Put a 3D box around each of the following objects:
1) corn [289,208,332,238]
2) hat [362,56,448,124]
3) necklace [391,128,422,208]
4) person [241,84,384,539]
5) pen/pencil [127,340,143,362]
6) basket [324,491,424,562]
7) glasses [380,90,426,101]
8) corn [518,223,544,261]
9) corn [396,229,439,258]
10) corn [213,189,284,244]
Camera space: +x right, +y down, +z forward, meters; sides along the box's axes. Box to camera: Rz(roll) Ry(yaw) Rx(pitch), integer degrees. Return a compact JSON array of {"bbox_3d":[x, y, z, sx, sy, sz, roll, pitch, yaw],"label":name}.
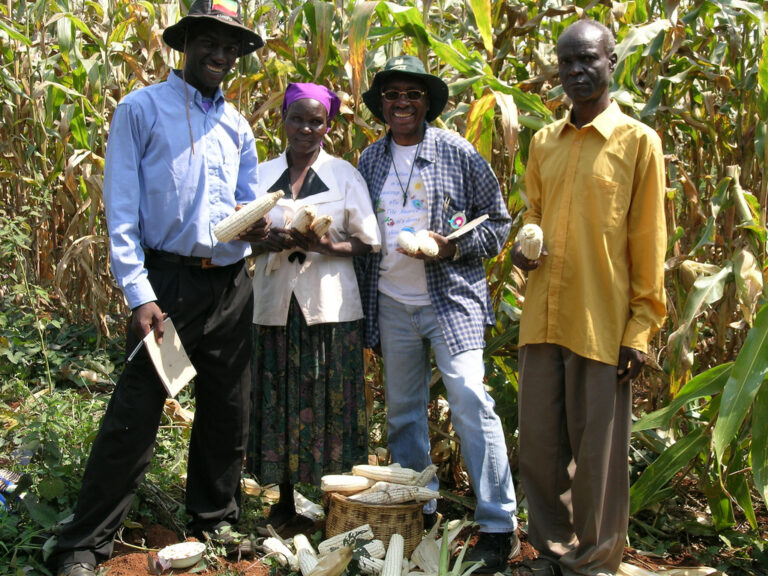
[{"bbox_3d":[-0.370,-0.322,3.570,0.115,0.080,0.207,35,-18,-26],"label":"corn"},{"bbox_3d":[0.106,-1.060,3.724,0.368,0.396,0.239,6,14,28],"label":"hat"},{"bbox_3d":[0.113,-0.613,3.724,0.121,0.339,0.133,-2,13,-11],"label":"necklace"},{"bbox_3d":[-0.462,0.082,3.789,0.842,2.297,0.786,3,2,10],"label":"person"},{"bbox_3d":[-1.156,0.292,3.324,0.023,0.119,0.017,37,3,25],"label":"pen/pencil"},{"bbox_3d":[-0.072,1.166,3.729,0.484,0.315,0.599,5,3,-10],"label":"basket"},{"bbox_3d":[0.096,-0.983,3.647,0.205,0.053,0.041,4,-2,4],"label":"glasses"},{"bbox_3d":[0.685,-0.207,3.330,0.137,0.197,0.111,6,24,21],"label":"corn"},{"bbox_3d":[0.174,-0.220,3.530,0.205,0.130,0.132,4,-2,4],"label":"corn"},{"bbox_3d":[-0.640,-0.349,3.389,0.388,0.109,0.120,-33,-7,-8],"label":"corn"}]
